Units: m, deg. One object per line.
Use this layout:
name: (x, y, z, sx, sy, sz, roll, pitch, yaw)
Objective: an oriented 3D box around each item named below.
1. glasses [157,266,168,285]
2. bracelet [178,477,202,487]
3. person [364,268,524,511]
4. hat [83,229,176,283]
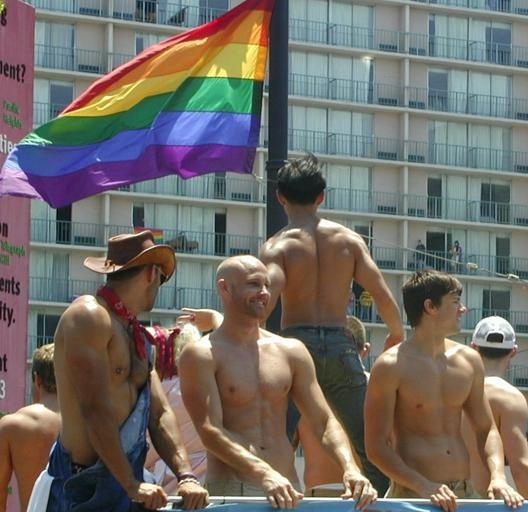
glasses: (-1.085, 0.177, 21.700, 0.041, 0.166, 0.152, -20, -4, -7)
bracelet: (-0.786, 2.361, 21.253, 0.219, 0.091, 0.140, 2, -3, -11)
person: (1.847, 1.379, 22.153, 1.495, 2.498, 0.786, 1, -3, -1)
hat: (-1.395, -0.020, 21.643, 0.649, 0.306, 0.636, -18, -3, -3)
